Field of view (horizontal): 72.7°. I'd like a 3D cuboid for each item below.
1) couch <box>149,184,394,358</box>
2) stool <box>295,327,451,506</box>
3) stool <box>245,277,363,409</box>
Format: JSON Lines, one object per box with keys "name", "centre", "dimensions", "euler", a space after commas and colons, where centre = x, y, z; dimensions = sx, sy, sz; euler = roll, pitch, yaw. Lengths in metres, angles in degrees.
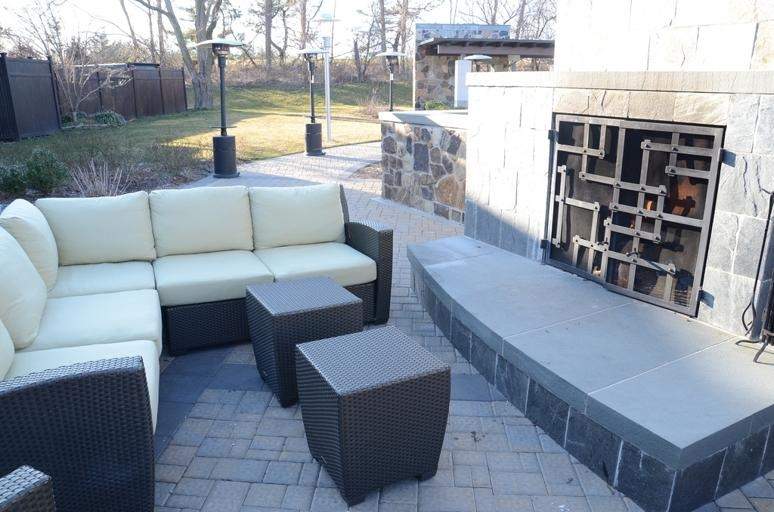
{"name": "couch", "centre": [-1.188, 0.028, 5.424], "dimensions": [2.261, 1.345, 1.315], "euler": [-5, 17, -20]}
{"name": "stool", "centre": [-0.182, 1.139, 3.785], "dimensions": [1.018, 1.020, 0.980], "euler": [-9, 18, -29]}
{"name": "stool", "centre": [-0.677, 0.571, 4.567], "dimensions": [0.955, 0.965, 0.928], "euler": [-9, 20, -29]}
